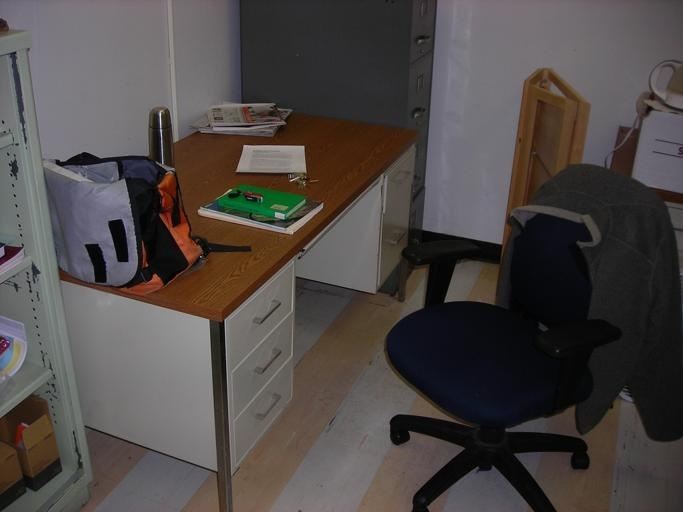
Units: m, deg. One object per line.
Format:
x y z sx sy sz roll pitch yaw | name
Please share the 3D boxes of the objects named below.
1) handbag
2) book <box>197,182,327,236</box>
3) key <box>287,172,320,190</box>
-0.734 -0.122 1.813 0.511 0.368 0.351 17 31 28 | handbag
-0.317 -0.193 2.150 0.432 0.084 0.245 9 29 18 | book
-0.179 -0.333 2.398 0.086 0.024 0.092 -21 41 -38 | key
